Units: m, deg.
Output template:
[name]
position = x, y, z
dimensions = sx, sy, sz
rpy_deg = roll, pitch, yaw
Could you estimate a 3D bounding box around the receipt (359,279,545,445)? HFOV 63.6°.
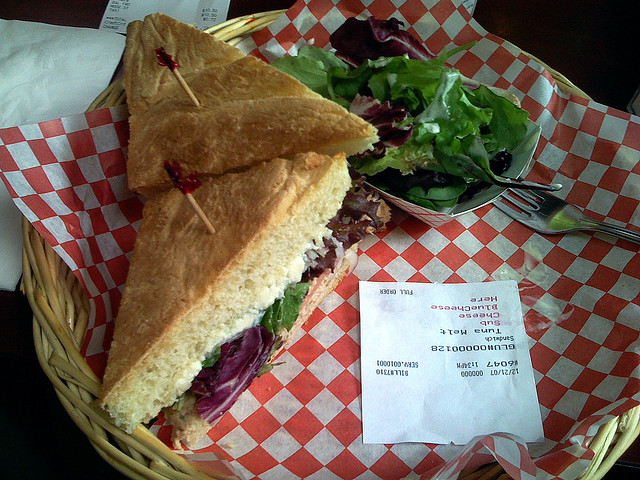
[receipt]
position = 0.526, 0.498, 2.130
dimensions = 0.714, 0.107, 0.560
rpy_deg = 2, 63, 2
